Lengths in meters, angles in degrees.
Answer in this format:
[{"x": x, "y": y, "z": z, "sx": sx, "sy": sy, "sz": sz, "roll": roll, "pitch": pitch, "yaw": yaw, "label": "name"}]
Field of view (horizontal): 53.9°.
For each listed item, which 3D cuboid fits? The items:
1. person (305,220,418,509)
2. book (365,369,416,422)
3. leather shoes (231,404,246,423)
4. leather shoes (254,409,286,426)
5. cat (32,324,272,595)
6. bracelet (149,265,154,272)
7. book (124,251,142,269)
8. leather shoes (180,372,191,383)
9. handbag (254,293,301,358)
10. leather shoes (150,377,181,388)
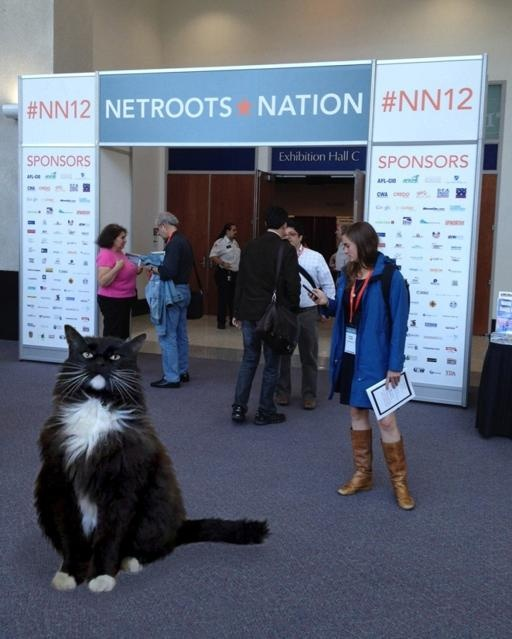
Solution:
[{"x": 0.569, "y": 0.225, "z": 2.613, "sx": 0.434, "sy": 1.416, "sz": 0.508, "roll": 1, "pitch": 4, "yaw": -22, "label": "person"}, {"x": 0.621, "y": 0.373, "z": 2.442, "sx": 0.151, "sy": 0.243, "sz": 0.293, "roll": 6, "pitch": 6, "yaw": 43, "label": "book"}, {"x": -0.135, "y": 0.723, "z": 3.850, "sx": 0.083, "sy": 0.154, "sz": 0.156, "roll": -1, "pitch": 44, "yaw": 7, "label": "leather shoes"}, {"x": 0.103, "y": 0.759, "z": 3.938, "sx": 0.259, "sy": 0.126, "sz": 0.096, "roll": -5, "pitch": 10, "yaw": -33, "label": "leather shoes"}, {"x": -0.328, "y": 0.508, "z": 1.789, "sx": 0.554, "sy": 0.804, "sz": 0.792, "roll": -2, "pitch": -8, "yaw": 20, "label": "cat"}, {"x": -0.963, "y": -0.455, "z": 4.623, "sx": 0.046, "sy": 0.052, "sz": 0.019, "roll": -6, "pitch": -1, "yaw": 31, "label": "bracelet"}, {"x": -1.167, "y": -0.558, "z": 4.804, "sx": 0.144, "sy": 0.134, "sz": 0.258, "roll": 1, "pitch": 5, "yaw": -28, "label": "book"}, {"x": -0.728, "y": 0.589, "z": 5.069, "sx": 0.045, "sy": 0.063, "sz": 0.132, "roll": 1, "pitch": 10, "yaw": -2, "label": "leather shoes"}, {"x": 0.190, "y": 0.026, "z": 3.807, "sx": 0.259, "sy": 0.527, "sz": 0.498, "roll": -3, "pitch": -33, "yaw": 15, "label": "handbag"}, {"x": -0.878, "y": 0.600, "z": 4.856, "sx": 0.268, "sy": 0.125, "sz": 0.108, "roll": 4, "pitch": -2, "yaw": -3, "label": "leather shoes"}]
